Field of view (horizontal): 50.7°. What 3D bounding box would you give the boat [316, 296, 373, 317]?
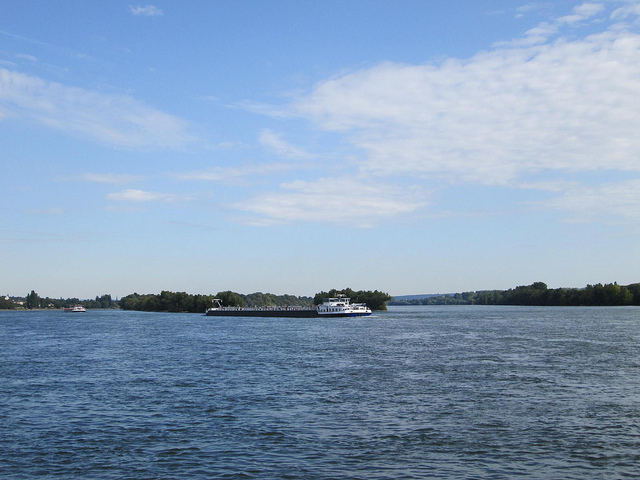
[{"bbox_3d":[7.716,21.419,217.220,15.105,5.965,25.037,-1,-2,17],"label":"boat"}]
